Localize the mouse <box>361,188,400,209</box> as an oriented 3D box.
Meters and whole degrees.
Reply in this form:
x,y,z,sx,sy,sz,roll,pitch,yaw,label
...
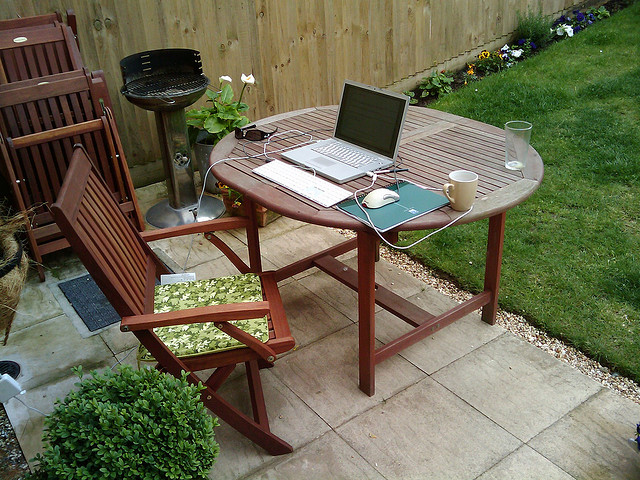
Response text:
x,y,z,sx,sy,sz,roll,pitch,yaw,label
0.268,-0.199,2.082,0.152,0.051,0.086,-21,37,-25,mouse

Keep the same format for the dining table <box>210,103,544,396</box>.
x,y,z,sx,sy,sz,roll,pitch,yaw,label
0.355,0.108,2.604,1.398,1.072,1.594,-23,35,-29,dining table

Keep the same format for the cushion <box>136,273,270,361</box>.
x,y,z,sx,sy,sz,roll,pitch,yaw,label
-0.549,0.353,2.177,0.574,0.082,0.575,-7,31,-8,cushion

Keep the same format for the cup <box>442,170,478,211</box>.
x,y,z,sx,sy,sz,roll,pitch,yaw,label
0.604,-0.199,2.013,0.192,0.134,0.125,-16,24,-43,cup

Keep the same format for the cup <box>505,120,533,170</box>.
x,y,z,sx,sy,sz,roll,pitch,yaw,label
1.013,-0.503,2.350,0.125,0.234,0.181,11,34,22,cup
